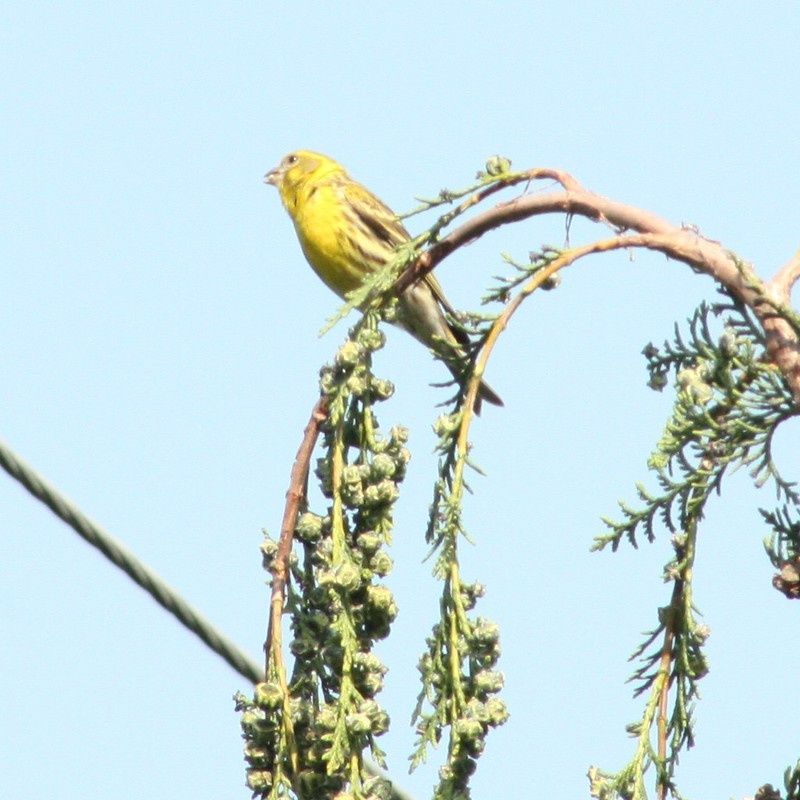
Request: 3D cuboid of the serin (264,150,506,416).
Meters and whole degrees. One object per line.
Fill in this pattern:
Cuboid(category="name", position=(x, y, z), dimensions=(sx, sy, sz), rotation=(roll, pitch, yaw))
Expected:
Cuboid(category="serin", position=(-0.080, -0.648, 8.803), dimensions=(1.323, 0.851, 0.526), rotation=(24, -46, -16))
